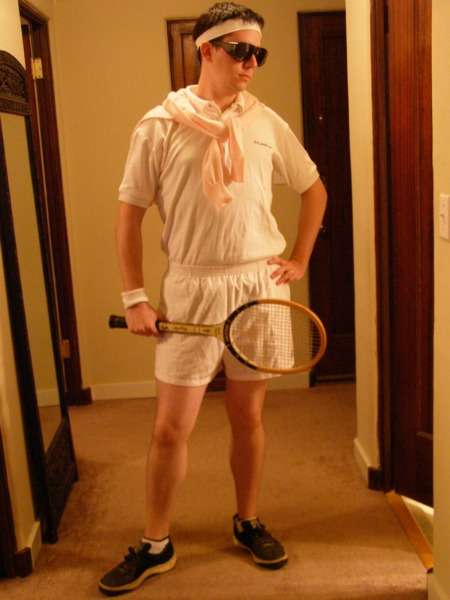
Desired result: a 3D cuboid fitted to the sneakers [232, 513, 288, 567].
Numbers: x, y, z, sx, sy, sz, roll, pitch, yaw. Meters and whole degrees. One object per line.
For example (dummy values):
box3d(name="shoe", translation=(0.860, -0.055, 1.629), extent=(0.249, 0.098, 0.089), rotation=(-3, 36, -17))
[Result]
box3d(name="sneakers", translation=(0.101, 0.765, 1.649), extent=(0.077, 0.099, 0.219), rotation=(-10, -12, -26))

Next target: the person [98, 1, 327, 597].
box3d(name="person", translation=(-0.053, 0.050, 1.471), extent=(0.571, 1.572, 0.486), rotation=(1, 7, 28))

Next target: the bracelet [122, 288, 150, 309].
box3d(name="bracelet", translation=(-0.227, -0.002, 1.319), extent=(0.057, 0.041, 0.047), rotation=(-28, -14, 14))

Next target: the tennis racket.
box3d(name="tennis racket", translation=(-0.016, 0.078, 1.276), extent=(0.508, 0.227, 0.057), rotation=(8, 17, 23))
